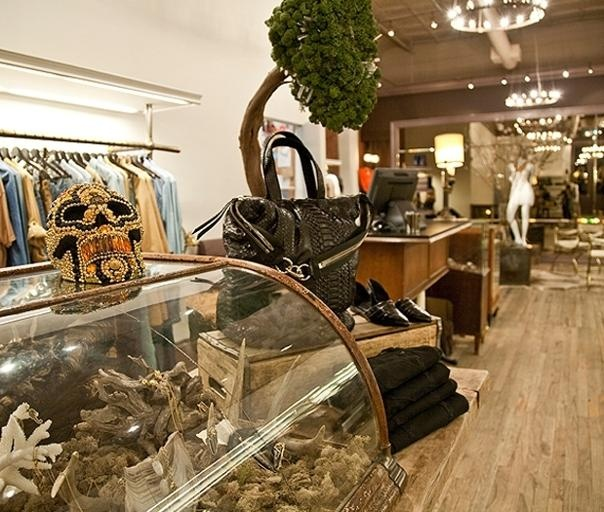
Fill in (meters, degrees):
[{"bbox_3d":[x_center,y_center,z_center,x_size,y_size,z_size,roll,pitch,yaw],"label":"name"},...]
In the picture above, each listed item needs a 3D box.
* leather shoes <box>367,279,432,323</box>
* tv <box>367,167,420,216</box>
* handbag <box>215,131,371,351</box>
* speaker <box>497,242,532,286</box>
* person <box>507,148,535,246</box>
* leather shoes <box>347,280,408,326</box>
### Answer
[{"bbox_3d":[0.347,0.137,1.471,0.205,0.081,0.148,22,12,28],"label":"leather shoes"},{"bbox_3d":[0.723,-0.516,3.198,0.364,0.372,0.226,-4,15,-15],"label":"tv"},{"bbox_3d":[-0.010,-0.041,1.257,0.511,0.640,0.279,-7,3,-32],"label":"handbag"},{"bbox_3d":[3.591,0.166,6.810,0.454,0.588,0.440,-1,9,26],"label":"speaker"},{"bbox_3d":[4.129,-1.012,7.624,0.445,1.657,0.353,0,9,30],"label":"person"},{"bbox_3d":[0.262,0.169,1.477,0.097,0.131,0.314,3,8,-41],"label":"leather shoes"}]
